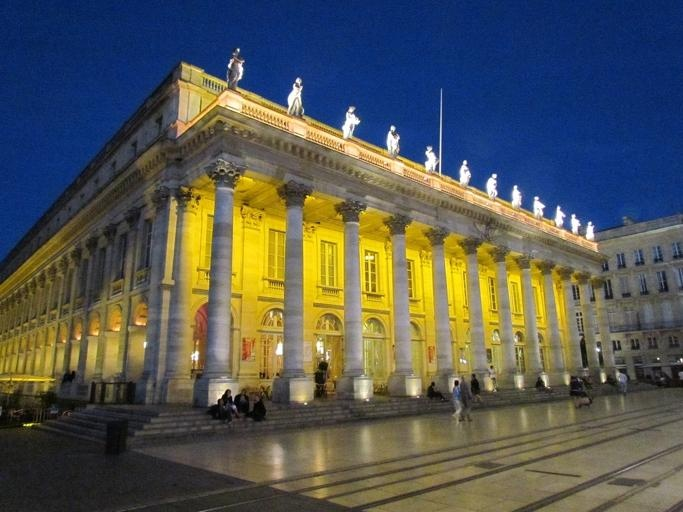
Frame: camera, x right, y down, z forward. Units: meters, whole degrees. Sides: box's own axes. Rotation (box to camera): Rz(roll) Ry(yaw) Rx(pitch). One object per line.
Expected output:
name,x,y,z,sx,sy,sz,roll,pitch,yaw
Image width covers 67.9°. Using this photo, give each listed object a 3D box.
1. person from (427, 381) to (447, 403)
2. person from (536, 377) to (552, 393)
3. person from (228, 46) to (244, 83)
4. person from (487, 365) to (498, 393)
person,5.353,7.689,28.714,0.969,0.895,1.059,-2,-10,9
person,14.457,9.269,36.456,1.013,1.133,0.799,5,-12,-28
person,-5.617,-9.998,26.832,0.745,2.337,1.473,2,-10,-14
person,10.138,8.254,33.943,0.545,1.397,2.771,-3,-10,16
